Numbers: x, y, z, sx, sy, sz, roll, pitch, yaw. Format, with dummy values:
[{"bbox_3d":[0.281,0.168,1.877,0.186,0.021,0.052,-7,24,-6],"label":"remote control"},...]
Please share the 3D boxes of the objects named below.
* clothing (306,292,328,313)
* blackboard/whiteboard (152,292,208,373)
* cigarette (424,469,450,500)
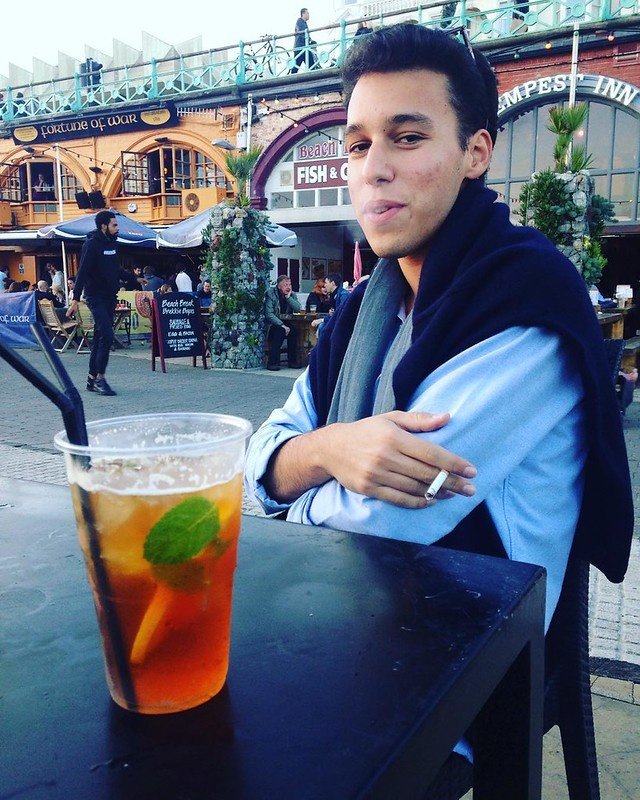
[{"bbox_3d":[-0.035,-1.735,12.778,0.482,0.389,0.241,2,-26,-5],"label":"clothing"},{"bbox_3d":[-2.176,-1.151,11.072,0.245,1.017,0.969,8,15,40],"label":"blackboard/whiteboard"},{"bbox_3d":[0.196,0.145,1.184,0.024,0.015,0.068,17,34,20],"label":"cigarette"}]
